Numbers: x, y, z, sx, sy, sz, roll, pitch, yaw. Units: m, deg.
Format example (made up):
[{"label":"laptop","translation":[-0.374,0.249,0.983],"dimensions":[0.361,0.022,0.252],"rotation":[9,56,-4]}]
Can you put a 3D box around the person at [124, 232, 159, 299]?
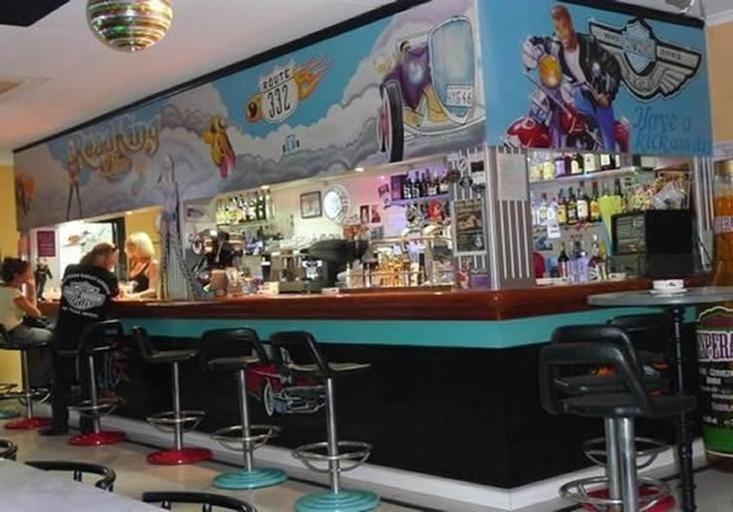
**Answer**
[{"label":"person","translation":[-2.747,0.099,7.347],"dimensions":[0.360,0.811,0.785],"rotation":[-4,-1,-21]}]

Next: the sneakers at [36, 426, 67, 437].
[{"label":"sneakers","translation":[-3.404,1.870,6.490],"dimensions":[0.238,0.081,0.184],"rotation":[3,0,-29]}]

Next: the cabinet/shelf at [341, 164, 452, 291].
[{"label":"cabinet/shelf","translation":[0.329,-0.288,5.999],"dimensions":[0.684,1.175,1.275],"rotation":[-4,3,-41]}]

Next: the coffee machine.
[{"label":"coffee machine","translation":[-0.648,0.095,6.136],"dimensions":[0.497,0.581,0.891],"rotation":[-5,1,-45]}]
